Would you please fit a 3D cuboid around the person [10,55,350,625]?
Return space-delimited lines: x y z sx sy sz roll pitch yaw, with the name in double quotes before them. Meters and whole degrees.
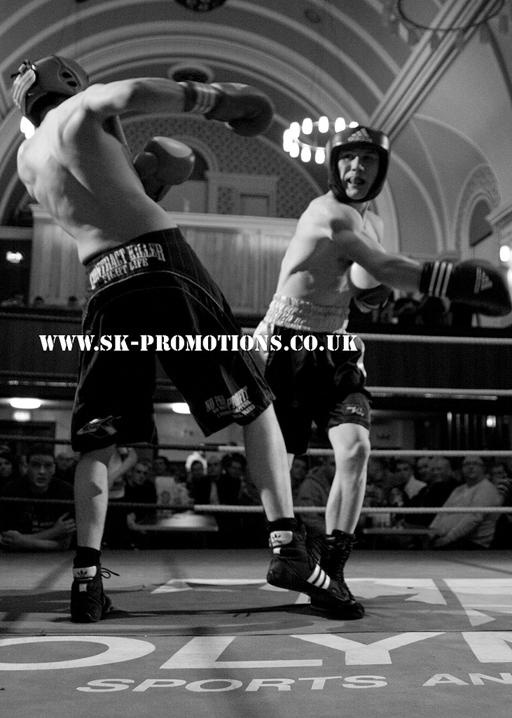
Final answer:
"person" -0.152 -0.070 1.373 0.647 1.123 0.555 8 -15 -33

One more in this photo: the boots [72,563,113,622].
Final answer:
"boots" -0.308 0.441 1.292 0.074 0.089 0.143 3 -12 -12

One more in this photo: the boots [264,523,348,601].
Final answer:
"boots" 0.109 0.410 1.340 0.209 0.129 0.072 26 -38 -25

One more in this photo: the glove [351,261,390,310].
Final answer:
"glove" 0.256 -0.165 1.531 0.052 0.067 0.089 -31 -37 -2

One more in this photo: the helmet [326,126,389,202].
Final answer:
"helmet" 0.238 -0.471 1.660 0.159 0.169 0.190 1 -2 4
